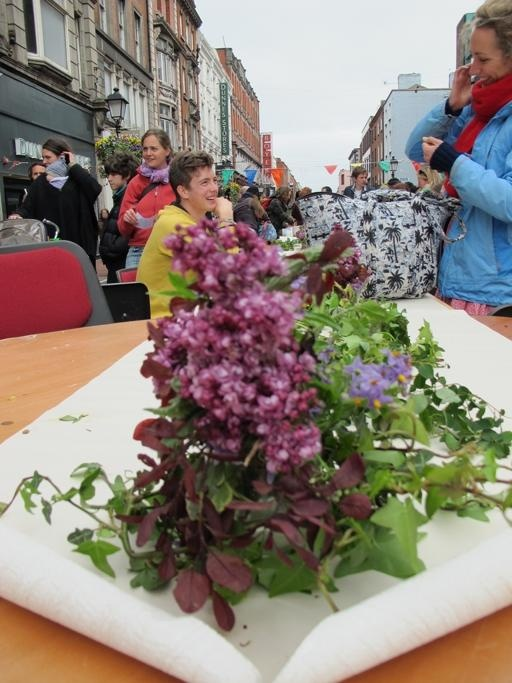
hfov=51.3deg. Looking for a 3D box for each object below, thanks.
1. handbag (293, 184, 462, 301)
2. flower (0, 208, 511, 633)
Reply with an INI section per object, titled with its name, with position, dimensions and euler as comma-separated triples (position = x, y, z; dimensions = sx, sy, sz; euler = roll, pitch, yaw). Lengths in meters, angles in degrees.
[handbag]
position = 0.426, -0.335, 1.908
dimensions = 0.620, 0.384, 0.291
euler = -6, 13, -17
[flower]
position = 0.029, 0.039, 0.543
dimensions = 0.349, 0.305, 0.390
euler = 10, -9, -33
